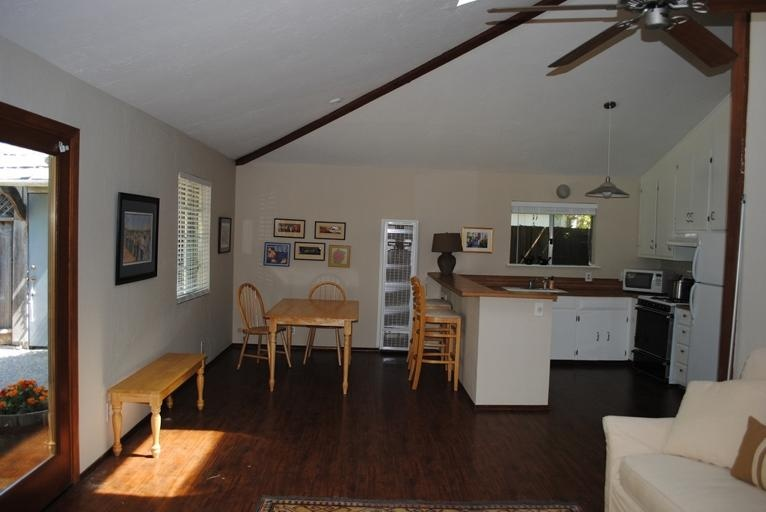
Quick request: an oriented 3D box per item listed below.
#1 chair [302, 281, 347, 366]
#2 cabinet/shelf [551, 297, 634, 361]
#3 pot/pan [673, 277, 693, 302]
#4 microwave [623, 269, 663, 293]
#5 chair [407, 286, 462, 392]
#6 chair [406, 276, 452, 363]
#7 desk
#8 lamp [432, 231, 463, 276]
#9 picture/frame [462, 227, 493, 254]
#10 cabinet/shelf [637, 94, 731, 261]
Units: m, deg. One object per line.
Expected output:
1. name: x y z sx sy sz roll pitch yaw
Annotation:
1. chair: -0.822 0.943 7.363 0.559 1.120 0.449 3 8 0
2. cabinet/shelf: 2.883 0.966 7.486 1.378 1.096 0.817 0 1 -1
3. pot/pan: 3.781 0.422 6.610 0.201 0.282 0.225 8 12 30
4. microwave: 3.591 0.339 7.202 0.280 0.303 0.448 2 -1 -24
5. chair: 0.649 1.057 6.494 0.725 1.769 1.032 -1 5 0
6. chair: 0.586 0.890 6.589 0.583 1.104 0.550 -7 -4 -13
7. desk: -0.857 1.054 6.441 1.027 0.923 1.378 1 10 -3
8. lamp: 0.883 -0.039 7.338 0.509 0.769 0.525 0 -4 -4
9. picture/frame: 1.364 -0.247 7.667 0.362 0.295 0.015 0 -1 -6
10. cabinet/shelf: 3.808 -1.043 6.553 0.311 0.965 1.941 1 -4 8
